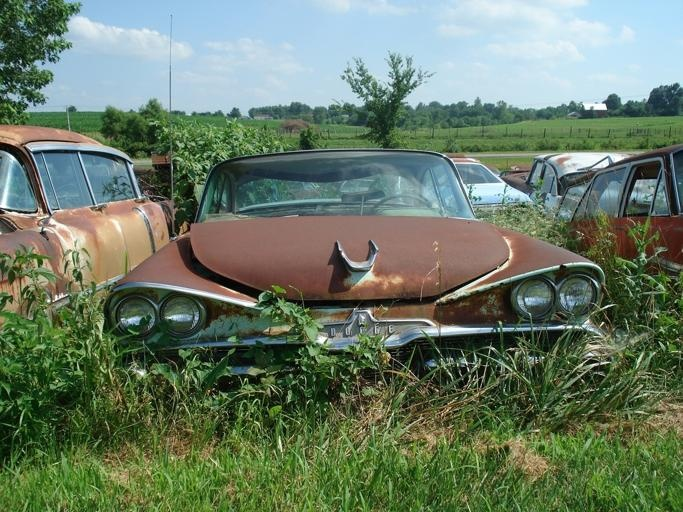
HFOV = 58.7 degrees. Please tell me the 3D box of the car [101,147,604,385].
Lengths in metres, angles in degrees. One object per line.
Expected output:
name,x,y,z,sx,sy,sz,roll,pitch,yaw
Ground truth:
car,0.062,-0.095,4.035,2.882,1.256,1.642,1,9,-6
